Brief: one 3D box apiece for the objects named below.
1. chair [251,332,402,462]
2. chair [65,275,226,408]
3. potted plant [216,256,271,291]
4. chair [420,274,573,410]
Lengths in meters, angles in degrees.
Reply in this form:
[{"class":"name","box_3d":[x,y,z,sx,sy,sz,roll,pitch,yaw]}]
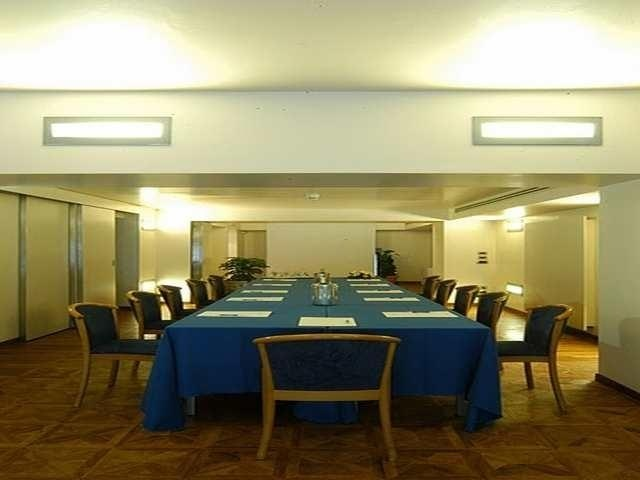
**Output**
[{"class":"chair","box_3d":[0.228,1.209,3.874,1.256,0.703,0.910,-8,-27,27]},{"class":"chair","box_3d":[-1.509,1.023,5.211,1.391,1.210,1.104,0,-1,6]},{"class":"potted plant","box_3d":[-1.929,0.734,11.312,1.197,0.567,1.039,-2,-2,22]},{"class":"chair","box_3d":[1.744,1.105,5.275,1.231,1.115,1.111,2,-3,6]}]
